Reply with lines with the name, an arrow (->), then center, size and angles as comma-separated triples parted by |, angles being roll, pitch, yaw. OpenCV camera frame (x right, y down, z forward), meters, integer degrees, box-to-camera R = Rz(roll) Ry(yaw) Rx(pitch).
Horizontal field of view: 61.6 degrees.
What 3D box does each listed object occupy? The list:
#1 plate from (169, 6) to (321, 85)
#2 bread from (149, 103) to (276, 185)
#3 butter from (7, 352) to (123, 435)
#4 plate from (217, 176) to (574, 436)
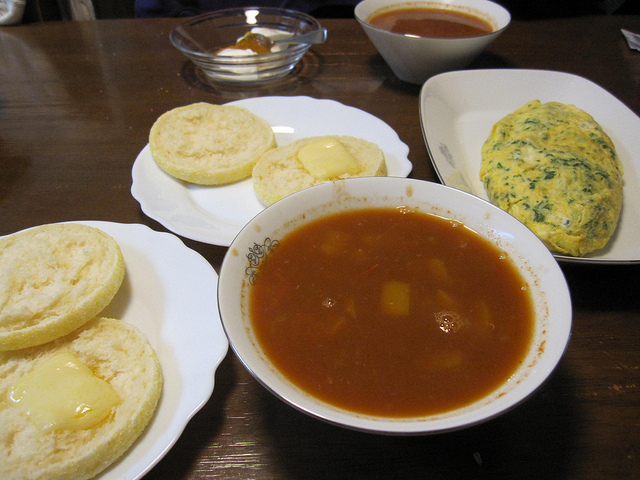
plate -> -0.497, -1.379, 3.636 | 0.960, 0.346, 0.871 | 2, 56, -1
bread -> -0.604, -0.576, 2.962 | 0.614, 0.552, 0.107 | 14, 48, -35
butter -> -0.934, 0.566, 1.947 | 0.327, 0.080, 0.257 | 34, 61, 19
plate -> 0.259, 0.194, 2.003 | 1.246, 0.226, 1.043 | 1, 56, -1
